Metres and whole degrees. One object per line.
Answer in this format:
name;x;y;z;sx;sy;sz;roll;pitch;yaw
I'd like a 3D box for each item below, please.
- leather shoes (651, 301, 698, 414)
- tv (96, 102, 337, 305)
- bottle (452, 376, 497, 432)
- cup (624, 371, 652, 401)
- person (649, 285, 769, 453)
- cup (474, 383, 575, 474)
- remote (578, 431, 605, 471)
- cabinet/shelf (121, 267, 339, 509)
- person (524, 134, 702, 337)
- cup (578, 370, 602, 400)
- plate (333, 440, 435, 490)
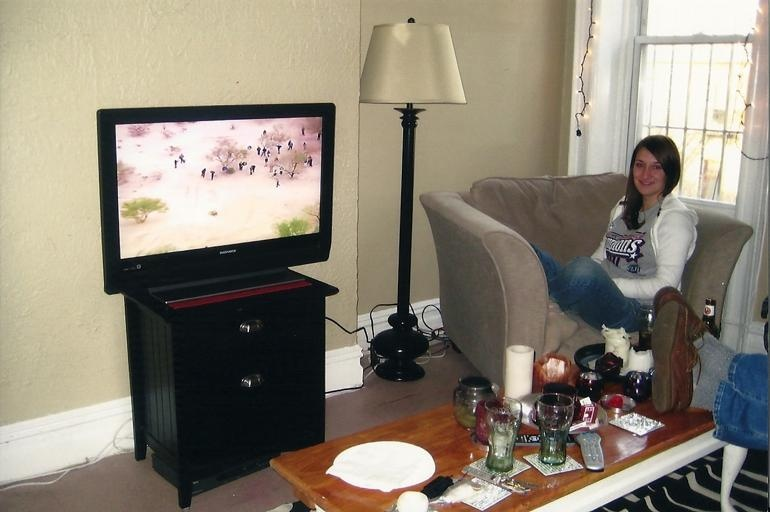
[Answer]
leather shoes;1.048;0.367;2.328;0.188;0.421;0.149;4;-2;-8
tv;-0.777;-0.237;2.710;0.989;0.654;0.067;-7;21;-28
bottle;0.304;0.515;2.226;0.187;0.189;0.174;2;6;5
cup;0.961;0.497;2.369;0.111;0.098;0.106;-1;2;0
person;1.142;0.418;2.259;0.367;0.737;0.267;3;-9;4
cup;0.471;0.571;2.071;0.331;0.217;0.183;-7;14;-8
remote;0.683;0.645;2.066;0.084;0.023;0.147;-1;29;8
cabinet/shelf;-0.654;0.346;3.130;1.230;1.240;0.891;-5;8;-41
person;1.337;-0.223;3.594;1.090;1.107;0.930;3;14;-5
cup;0.773;0.485;2.366;0.099;0.083;0.100;1;3;0
plate;-0.011;0.682;2.029;0.338;0.063;0.199;-2;14;12
